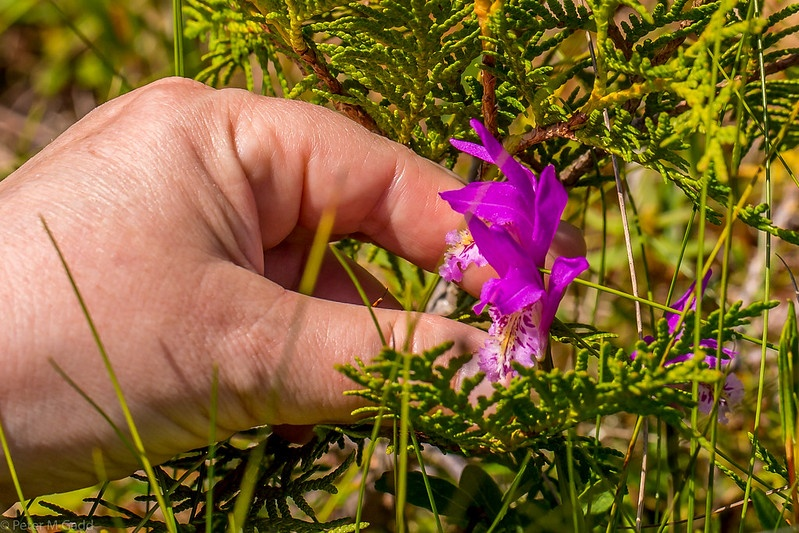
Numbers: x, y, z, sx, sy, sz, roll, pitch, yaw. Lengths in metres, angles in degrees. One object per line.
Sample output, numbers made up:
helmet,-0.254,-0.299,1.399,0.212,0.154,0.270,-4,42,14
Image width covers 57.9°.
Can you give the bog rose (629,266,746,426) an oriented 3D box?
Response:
bog rose,0.690,0.149,1.609,0.289,0.124,0.353,9,46,11
